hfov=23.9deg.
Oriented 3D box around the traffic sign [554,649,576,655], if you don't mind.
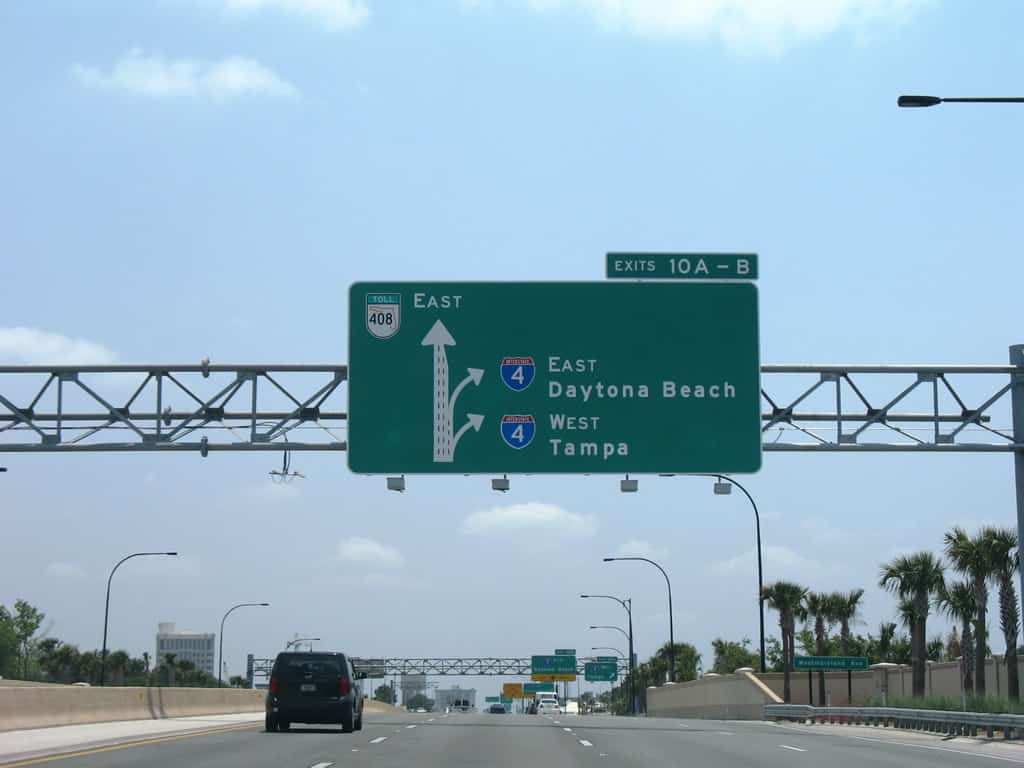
[{"bbox_3d":[3.926,20.708,184.445,1.333,0.468,2.208,-2,-16,6],"label":"traffic sign"}]
